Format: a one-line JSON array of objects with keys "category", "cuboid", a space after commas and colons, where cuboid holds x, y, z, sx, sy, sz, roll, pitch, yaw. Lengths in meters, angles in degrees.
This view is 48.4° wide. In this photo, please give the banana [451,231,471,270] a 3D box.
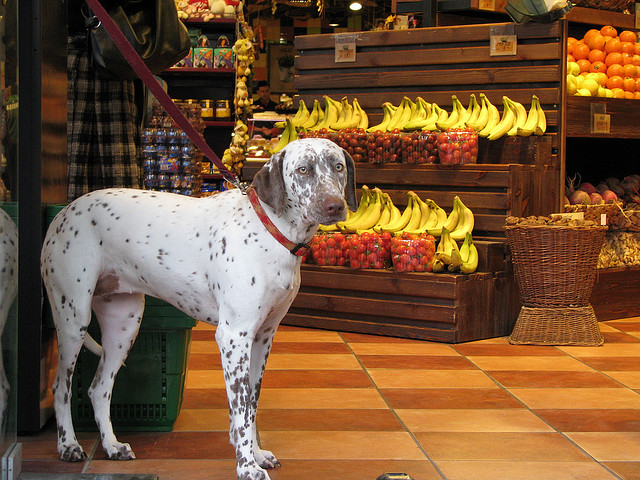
[{"category": "banana", "cuboid": [1.007, 0.083, 5.045, 0.105, 0.235, 0.347, 4, 16, 29]}]

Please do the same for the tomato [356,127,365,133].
[{"category": "tomato", "cuboid": [0.340, -0.888, 5.744, 0.065, 0.037, 0.098, 0, 8, -1]}]

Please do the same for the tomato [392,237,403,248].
[{"category": "tomato", "cuboid": [0.568, 0.008, 5.122, 0.069, 0.068, 0.068, 5, 12, 43]}]

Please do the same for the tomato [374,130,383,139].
[{"category": "tomato", "cuboid": [0.479, -0.844, 5.666, 0.065, 0.070, 0.092, 1, 8, 4]}]

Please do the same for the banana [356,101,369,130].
[{"category": "banana", "cuboid": [0.373, -1.038, 6.032, 0.108, 0.299, 0.081, 5, -40, -11]}]

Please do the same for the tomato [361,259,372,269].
[{"category": "tomato", "cuboid": [0.356, 0.173, 5.248, 0.065, 0.074, 0.063, 4, 37, -3]}]

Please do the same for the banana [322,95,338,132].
[{"category": "banana", "cuboid": [0.131, -1.080, 6.158, 0.136, 0.379, 0.092, 0, -18, 27]}]

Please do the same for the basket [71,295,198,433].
[{"category": "basket", "cuboid": [-0.930, 0.746, 3.641, 0.528, 0.540, 0.791, -3, -20, -11]}]

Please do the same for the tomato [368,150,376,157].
[{"category": "tomato", "cuboid": [0.428, -0.693, 5.674, 0.048, 0.054, 0.047, 2, 0, -30]}]

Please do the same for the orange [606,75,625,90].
[{"category": "orange", "cuboid": [2.550, -1.350, 6.090, 0.130, 0.145, 0.127, 3, -22, 2]}]

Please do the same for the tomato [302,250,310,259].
[{"category": "tomato", "cuboid": [-0.080, 0.110, 5.518, 0.059, 0.058, 0.069, 2, 33, 21]}]

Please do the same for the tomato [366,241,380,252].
[{"category": "tomato", "cuboid": [0.395, 0.039, 5.227, 0.074, 0.095, 0.073, 20, -19, -6]}]

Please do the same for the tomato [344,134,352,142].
[{"category": "tomato", "cuboid": [0.237, -0.823, 5.746, 0.056, 0.053, 0.054, 13, -15, -38]}]

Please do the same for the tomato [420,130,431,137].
[{"category": "tomato", "cuboid": [0.823, -0.822, 5.466, 0.081, 0.054, 0.106, 2, 8, 8]}]

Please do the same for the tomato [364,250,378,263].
[{"category": "tomato", "cuboid": [0.393, 0.116, 5.284, 0.085, 0.082, 0.084, -18, -23, 0]}]

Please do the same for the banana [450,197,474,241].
[{"category": "banana", "cuboid": [1.065, -0.154, 5.262, 0.193, 0.289, 0.092, 28, -20, -7]}]

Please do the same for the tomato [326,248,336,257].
[{"category": "tomato", "cuboid": [0.099, 0.088, 5.412, 0.058, 0.061, 0.058, -6, 16, 43]}]

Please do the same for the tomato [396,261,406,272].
[{"category": "tomato", "cuboid": [0.590, 0.184, 5.075, 0.062, 0.060, 0.071, 3, 27, 0]}]

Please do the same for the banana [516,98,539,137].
[{"category": "banana", "cuboid": [1.642, -0.964, 5.495, 0.092, 0.182, 0.290, 2, -3, 11]}]

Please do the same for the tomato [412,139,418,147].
[{"category": "tomato", "cuboid": [0.746, -0.749, 5.487, 0.047, 0.053, 0.046, 3, -12, 4]}]

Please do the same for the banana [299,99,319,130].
[{"category": "banana", "cuboid": [-0.085, -1.102, 6.243, 0.151, 0.247, 0.157, -4, 9, -28]}]

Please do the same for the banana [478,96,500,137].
[{"category": "banana", "cuboid": [1.387, -1.063, 5.720, 0.135, 0.211, 0.604, -1, 7, 16]}]

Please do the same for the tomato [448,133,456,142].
[{"category": "tomato", "cuboid": [0.992, -0.763, 5.275, 0.055, 0.050, 0.031, -15, 41, 20]}]

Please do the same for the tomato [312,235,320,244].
[{"category": "tomato", "cuboid": [-0.015, -0.011, 5.424, 0.049, 0.056, 0.048, 2, -30, -6]}]

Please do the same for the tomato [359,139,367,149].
[{"category": "tomato", "cuboid": [0.355, -0.775, 5.716, 0.048, 0.060, 0.038, 4, 19, 17]}]

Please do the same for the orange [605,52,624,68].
[{"category": "orange", "cuboid": [2.547, -1.560, 6.156, 0.120, 0.117, 0.135, 1, 37, 5]}]

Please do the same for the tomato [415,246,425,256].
[{"category": "tomato", "cuboid": [0.722, 0.075, 5.075, 0.057, 0.054, 0.055, -13, -21, -10]}]

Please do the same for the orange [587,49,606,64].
[{"category": "orange", "cuboid": [2.428, -1.594, 6.193, 0.089, 0.084, 0.100, 20, 18, -40]}]

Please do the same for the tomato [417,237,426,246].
[{"category": "tomato", "cuboid": [0.738, 0.005, 5.071, 0.050, 0.027, 0.051, 13, 33, 42]}]

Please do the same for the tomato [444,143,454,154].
[{"category": "tomato", "cuboid": [0.973, -0.685, 5.284, 0.070, 0.073, 0.066, 0, -3, 0]}]

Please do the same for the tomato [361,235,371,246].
[{"category": "tomato", "cuboid": [0.348, 0.001, 5.259, 0.064, 0.073, 0.062, 4, -31, 0]}]

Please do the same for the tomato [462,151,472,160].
[{"category": "tomato", "cuboid": [1.114, -0.636, 5.313, 0.086, 0.060, 0.020, -4, 9, -31]}]

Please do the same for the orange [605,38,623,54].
[{"category": "orange", "cuboid": [2.565, -1.678, 6.231, 0.125, 0.139, 0.122, 2, -37, 3]}]

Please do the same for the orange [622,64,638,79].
[{"category": "orange", "cuboid": [2.684, -1.450, 6.112, 0.112, 0.124, 0.109, 1, -20, 1]}]

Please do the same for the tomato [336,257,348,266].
[{"category": "tomato", "cuboid": [0.177, 0.160, 5.420, 0.076, 0.061, 0.063, -15, 5, -38]}]

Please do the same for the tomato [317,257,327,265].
[{"category": "tomato", "cuboid": [0.033, 0.154, 5.429, 0.054, 0.053, 0.072, -11, 31, 1]}]

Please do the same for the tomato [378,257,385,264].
[{"category": "tomato", "cuboid": [0.467, 0.146, 5.259, 0.020, 0.045, 0.067, 6, 10, 34]}]

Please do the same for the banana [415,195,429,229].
[{"category": "banana", "cuboid": [0.806, -0.222, 5.494, 0.094, 0.268, 0.068, 1, -2, 35]}]

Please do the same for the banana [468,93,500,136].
[{"category": "banana", "cuboid": [1.237, -0.958, 5.488, 0.098, 0.198, 0.309, 9, 44, 35]}]

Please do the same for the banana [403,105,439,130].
[{"category": "banana", "cuboid": [0.828, -0.970, 5.659, 0.277, 0.172, 0.075, -28, -16, -18]}]

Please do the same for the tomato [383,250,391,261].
[{"category": "tomato", "cuboid": [0.515, 0.111, 5.290, 0.055, 0.053, 0.065, -13, -36, 15]}]

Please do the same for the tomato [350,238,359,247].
[{"category": "tomato", "cuboid": [0.268, 0.008, 5.288, 0.052, 0.035, 0.052, 0, -1, 26]}]

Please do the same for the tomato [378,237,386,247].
[{"category": "tomato", "cuboid": [0.469, 0.014, 5.250, 0.049, 0.061, 0.058, 4, 9, 22]}]

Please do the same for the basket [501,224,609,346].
[{"category": "basket", "cuboid": [1.575, 0.311, 5.155, 0.863, 0.924, 0.786, 1, -3, 2]}]

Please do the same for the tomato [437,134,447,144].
[{"category": "tomato", "cuboid": [0.923, -0.761, 5.325, 0.061, 0.059, 0.059, -10, 30, -18]}]
